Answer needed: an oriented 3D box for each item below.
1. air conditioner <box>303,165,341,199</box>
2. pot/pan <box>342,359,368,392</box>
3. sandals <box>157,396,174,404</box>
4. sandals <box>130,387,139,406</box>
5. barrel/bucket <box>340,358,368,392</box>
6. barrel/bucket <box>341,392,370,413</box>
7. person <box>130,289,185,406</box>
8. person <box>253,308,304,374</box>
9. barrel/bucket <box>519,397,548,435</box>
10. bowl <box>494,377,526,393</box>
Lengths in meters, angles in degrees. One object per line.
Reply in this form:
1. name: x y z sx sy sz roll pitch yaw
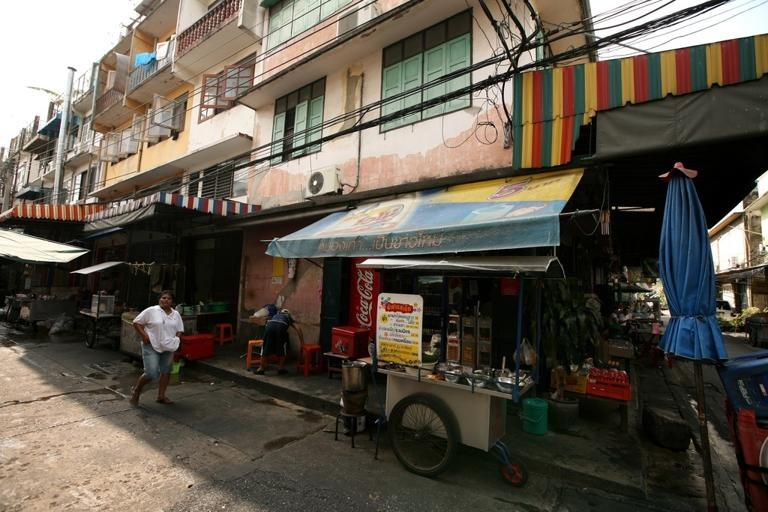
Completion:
1. air conditioner: -1.656 -2.010 15.703 1.135 0.807 0.447 -5 -10 40
2. pot/pan: -0.599 2.513 11.836 0.578 0.514 0.598 -5 -14 26
3. sandals: -4.966 3.348 13.058 0.463 0.249 0.143 4 -8 -11
4. sandals: -5.637 3.204 12.895 0.183 0.432 0.171 1 -1 -7
5. barrel/bucket: -0.605 2.534 11.849 0.586 0.509 0.592 1 -13 0
6. barrel/bucket: -0.609 3.130 11.947 0.474 0.431 0.541 -4 -40 13
7. person: -5.259 2.129 13.202 1.026 2.602 0.865 3 -7 -18
8. person: -2.658 2.288 15.229 1.265 1.820 1.142 12 -31 -17
9. barrel/bucket: 3.272 3.450 12.190 0.571 0.793 0.387 1 -7 3
10. bowl: 2.418 2.463 10.834 0.381 0.127 0.320 2 0 -23
